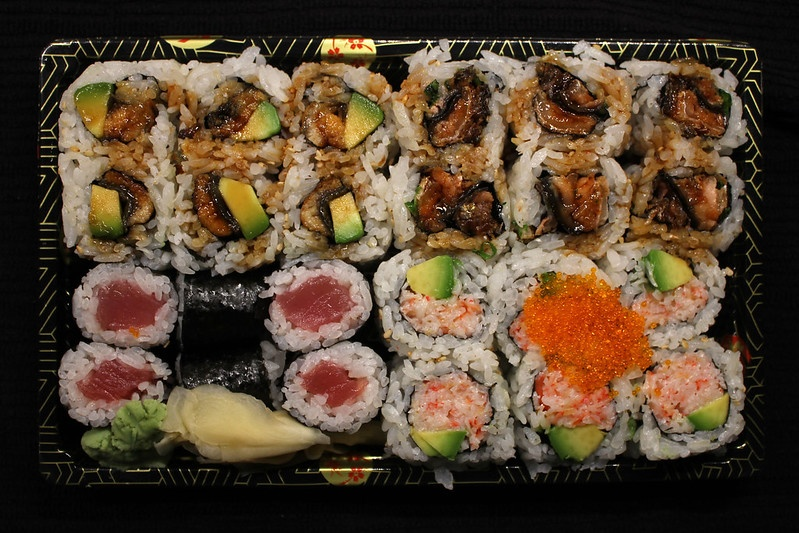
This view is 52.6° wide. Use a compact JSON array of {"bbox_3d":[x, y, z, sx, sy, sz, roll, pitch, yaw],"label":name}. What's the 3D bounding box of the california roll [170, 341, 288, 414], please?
[{"bbox_3d":[-1.013,0.666,4.918,0.451,0.152,0.441,0,11,0],"label":"california roll"}]
